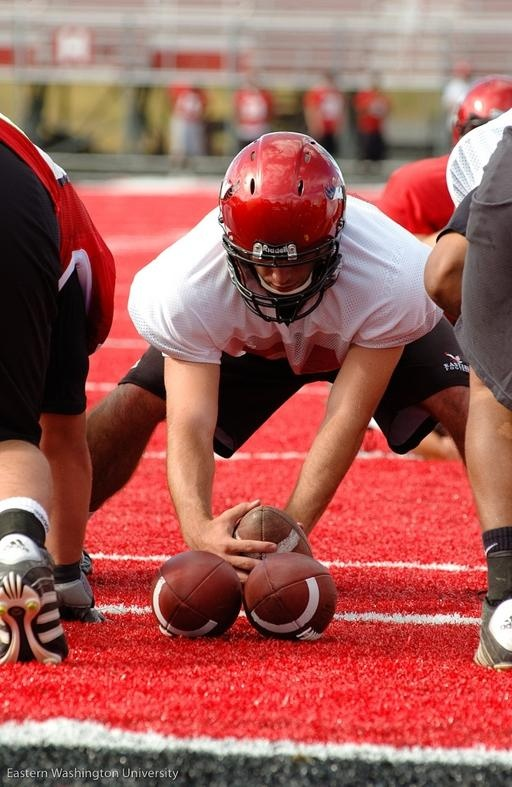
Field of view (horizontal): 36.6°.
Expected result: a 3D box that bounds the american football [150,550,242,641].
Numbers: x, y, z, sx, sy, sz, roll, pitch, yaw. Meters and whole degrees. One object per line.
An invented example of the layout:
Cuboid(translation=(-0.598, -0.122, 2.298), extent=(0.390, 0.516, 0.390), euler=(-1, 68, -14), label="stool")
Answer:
Cuboid(translation=(-0.139, 0.422, 1.698), extent=(0.188, 0.175, 0.192), euler=(11, 25, -28), label="american football")

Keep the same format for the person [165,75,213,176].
Cuboid(translation=(-1.545, -5.937, 17.252), extent=(0.743, 1.643, 1.021), euler=(-14, 23, -39), label="person")

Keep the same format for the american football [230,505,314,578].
Cuboid(translation=(0.013, 0.324, 1.857), extent=(0.129, 0.088, 0.150), euler=(3, 19, 5), label="american football")

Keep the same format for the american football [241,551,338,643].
Cuboid(translation=(0.065, 0.439, 1.647), extent=(0.137, 0.120, 0.141), euler=(-28, 23, -8), label="american football")

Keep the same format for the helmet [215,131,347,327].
Cuboid(translation=(0.121, -0.444, 2.019), extent=(0.367, 0.382, 0.457), euler=(1, 49, 8), label="helmet")
